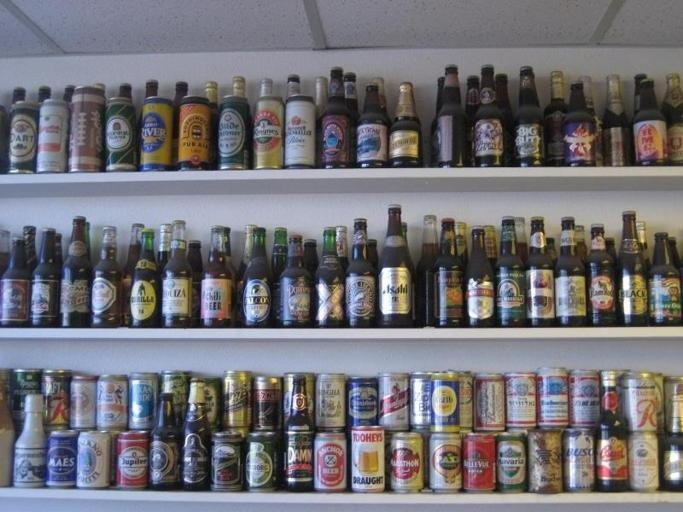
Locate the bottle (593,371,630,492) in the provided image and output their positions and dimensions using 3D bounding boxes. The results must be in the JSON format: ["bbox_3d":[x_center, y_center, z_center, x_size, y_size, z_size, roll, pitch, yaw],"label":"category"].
[{"bbox_3d":[0.784,0.512,2.568,0.093,0.245,0.119,-4,2,19],"label":"bottle"}]

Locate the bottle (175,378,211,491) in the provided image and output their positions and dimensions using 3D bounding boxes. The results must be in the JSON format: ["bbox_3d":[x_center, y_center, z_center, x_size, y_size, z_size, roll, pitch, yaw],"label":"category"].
[{"bbox_3d":[-0.424,0.526,2.571,0.094,0.299,0.072,-5,2,-22],"label":"bottle"}]
